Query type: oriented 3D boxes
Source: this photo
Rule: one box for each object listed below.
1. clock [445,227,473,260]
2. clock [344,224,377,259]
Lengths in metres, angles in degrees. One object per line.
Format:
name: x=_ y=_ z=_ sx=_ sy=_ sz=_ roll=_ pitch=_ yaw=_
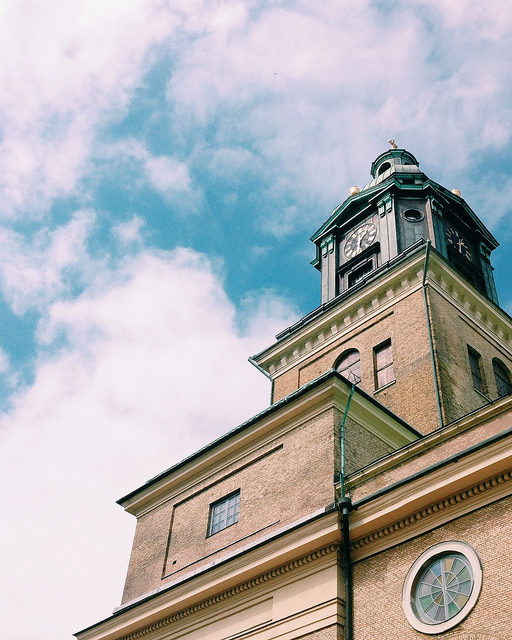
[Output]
clock: x=7.821 y=-2.934 z=34.543 sx=0.148 sy=1.325 sz=1.302 roll=-33 pitch=-64 yaw=25
clock: x=4.191 y=-3.090 z=35.315 sx=0.080 sy=1.459 sz=1.433 roll=40 pitch=-70 yaw=-12
